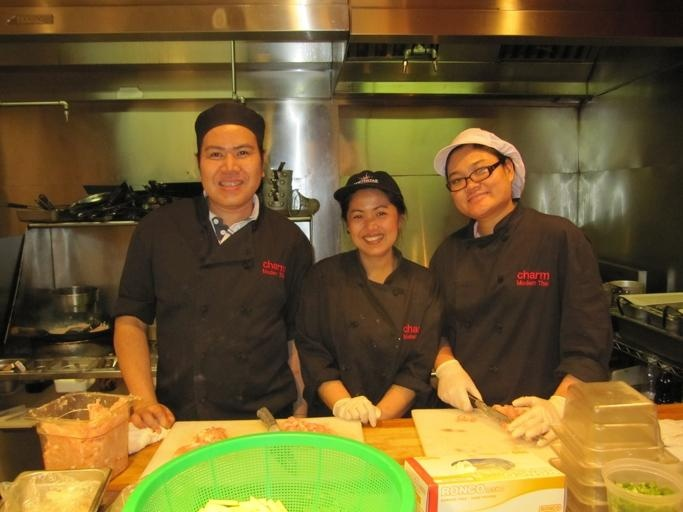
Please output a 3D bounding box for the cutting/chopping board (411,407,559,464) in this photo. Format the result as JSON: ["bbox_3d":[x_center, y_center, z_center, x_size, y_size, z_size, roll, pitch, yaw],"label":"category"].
[{"bbox_3d":[0.469,0.599,1.968,0.419,0.067,0.336,-3,5,-1],"label":"cutting/chopping board"}]

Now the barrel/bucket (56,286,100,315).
[{"bbox_3d":[-1.597,0.271,3.476,0.191,0.112,0.185,-3,-3,0],"label":"barrel/bucket"}]

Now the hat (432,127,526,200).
[{"bbox_3d":[0.614,-0.430,2.405,0.364,0.342,0.127,19,50,10],"label":"hat"}]

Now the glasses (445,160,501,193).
[{"bbox_3d":[0.548,-0.324,2.367,0.233,0.123,0.100,-1,5,13],"label":"glasses"}]

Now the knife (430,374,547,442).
[{"bbox_3d":[0.559,0.535,2.153,0.124,0.162,0.576,1,7,-26],"label":"knife"}]

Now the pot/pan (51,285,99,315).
[{"bbox_3d":[-1.611,0.259,3.483,0.214,0.103,0.183,1,-3,-28],"label":"pot/pan"}]

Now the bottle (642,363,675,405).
[{"bbox_3d":[1.604,0.628,2.876,0.146,0.219,0.134,-3,5,0],"label":"bottle"}]

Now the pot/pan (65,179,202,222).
[{"bbox_3d":[-1.191,-0.307,3.234,0.712,0.244,0.200,-7,50,-12],"label":"pot/pan"}]

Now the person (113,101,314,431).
[{"bbox_3d":[-0.492,0.036,2.325,0.803,1.272,0.399,-6,6,-28],"label":"person"}]

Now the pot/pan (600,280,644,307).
[{"bbox_3d":[1.618,0.189,3.329,0.219,0.137,0.192,-3,7,-8],"label":"pot/pan"}]
